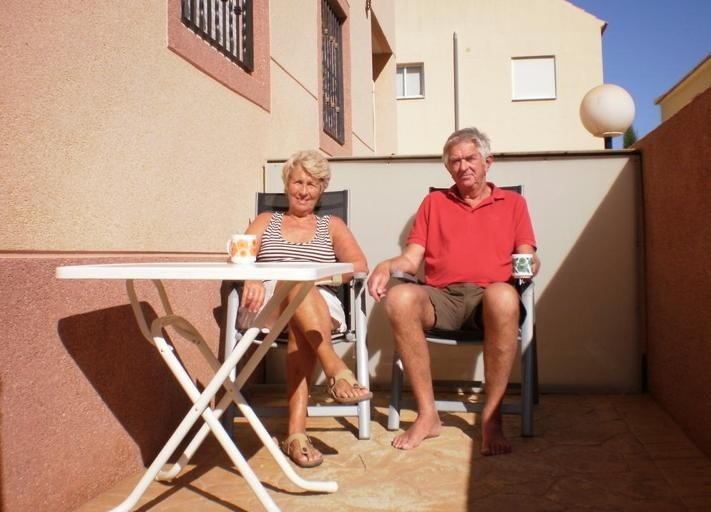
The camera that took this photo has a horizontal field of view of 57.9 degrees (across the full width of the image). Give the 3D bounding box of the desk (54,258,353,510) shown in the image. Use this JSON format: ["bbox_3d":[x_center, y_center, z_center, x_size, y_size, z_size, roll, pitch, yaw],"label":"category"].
[{"bbox_3d":[-0.581,0.526,2.860,1.088,1.082,0.807,-1,7,3],"label":"desk"}]

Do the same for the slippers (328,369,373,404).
[{"bbox_3d":[-0.038,0.598,3.012,0.157,0.115,0.321,-6,4,-13],"label":"slippers"}]

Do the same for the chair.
[{"bbox_3d":[0.163,0.310,3.519,1.249,0.994,0.525,-1,-5,5],"label":"chair"}]

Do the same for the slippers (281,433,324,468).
[{"bbox_3d":[-0.246,0.927,3.060,0.102,0.091,0.216,-2,-7,-24],"label":"slippers"}]

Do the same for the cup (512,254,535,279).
[{"bbox_3d":[0.868,0.059,3.340,0.106,0.133,0.116,0,-4,0],"label":"cup"}]

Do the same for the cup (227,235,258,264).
[{"bbox_3d":[-0.514,-0.027,2.964,0.129,0.137,0.108,1,1,-1],"label":"cup"}]
